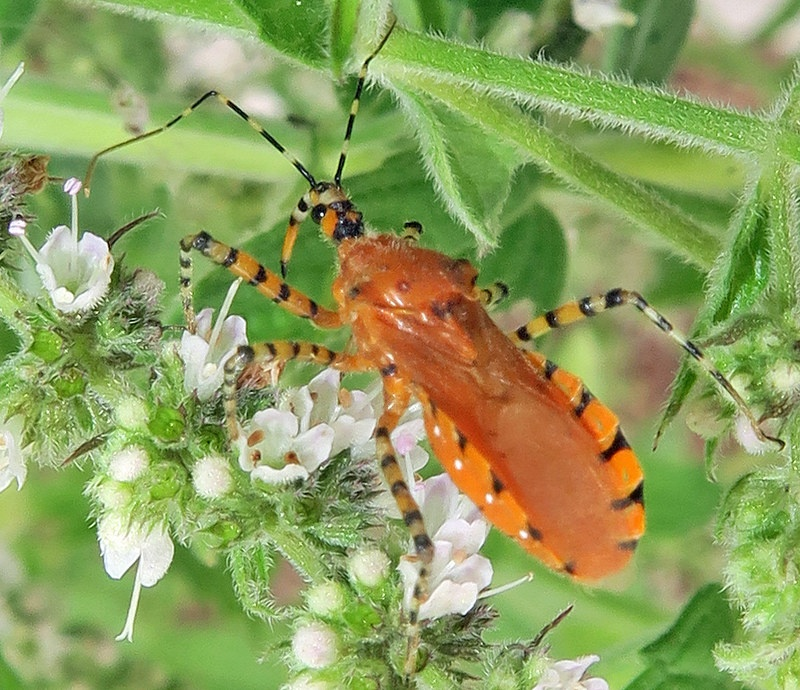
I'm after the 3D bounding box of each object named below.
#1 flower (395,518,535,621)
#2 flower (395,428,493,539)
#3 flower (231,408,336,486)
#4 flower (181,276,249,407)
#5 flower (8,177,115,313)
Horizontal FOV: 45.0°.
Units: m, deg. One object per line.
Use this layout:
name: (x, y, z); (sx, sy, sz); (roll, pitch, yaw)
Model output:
flower: (0.164, 0.578, 2.681); (0.244, 0.272, 0.104); (23, 19, -18)
flower: (0.102, 0.432, 2.871); (0.104, 0.255, 0.339); (-26, 75, 5)
flower: (-0.318, 0.277, 2.661); (0.269, 0.164, 0.165); (2, 40, -8)
flower: (-0.561, -0.005, 2.901); (0.166, 0.197, 0.327); (40, 40, -11)
flower: (-0.967, -0.262, 2.806); (0.218, 0.231, 0.304); (-27, 51, -34)
